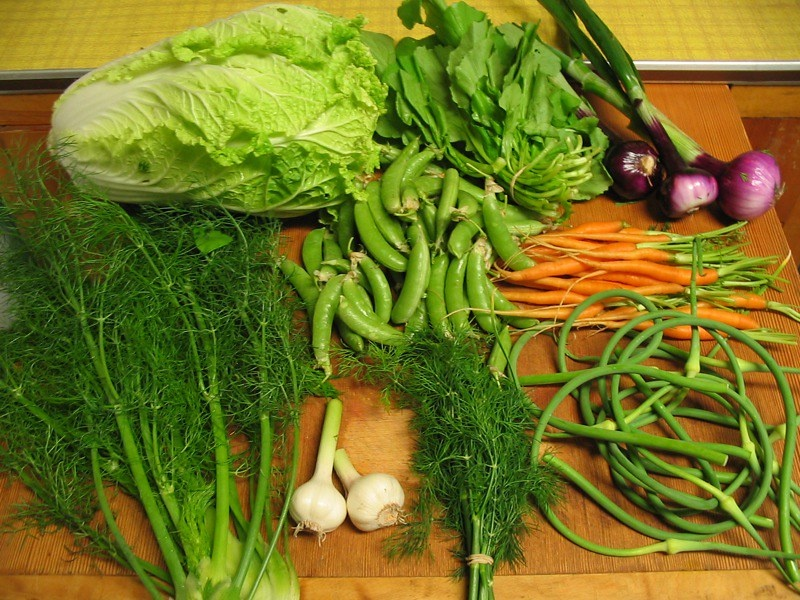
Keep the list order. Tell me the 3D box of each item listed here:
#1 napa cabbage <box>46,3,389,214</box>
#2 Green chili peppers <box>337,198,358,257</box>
[{"bbox_3d":[-0.701,-0.677,2.873,1.223,0.562,0.817,-9,59,-12],"label":"napa cabbage"},{"bbox_3d":[-0.235,-0.316,2.984,0.082,0.236,0.084,7,14,27],"label":"Green chili peppers"}]
